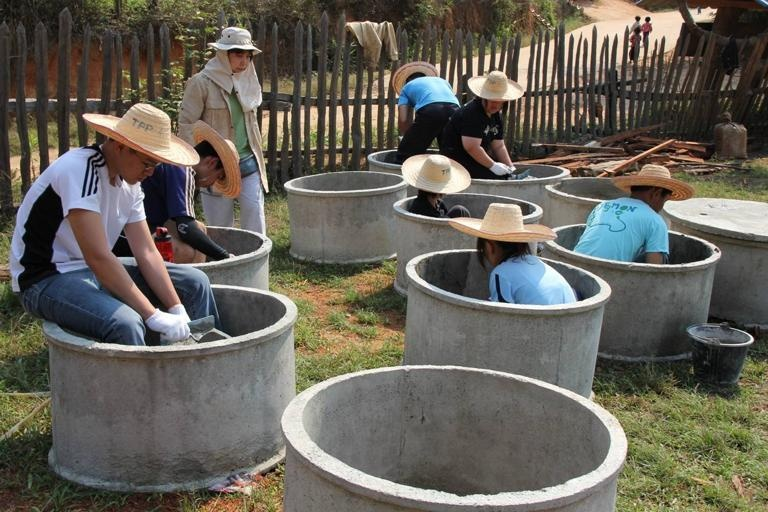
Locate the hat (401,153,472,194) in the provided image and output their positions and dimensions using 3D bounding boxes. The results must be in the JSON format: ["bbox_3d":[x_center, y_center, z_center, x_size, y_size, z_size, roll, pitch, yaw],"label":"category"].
[{"bbox_3d":[0.529,-0.866,7.973,0.776,0.298,0.954,3,-3,0],"label":"hat"}]

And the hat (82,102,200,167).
[{"bbox_3d":[-1.748,-0.946,5.375,0.929,0.301,0.804,7,15,-47],"label":"hat"}]

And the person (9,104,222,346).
[{"bbox_3d":[-2.069,-0.216,5.263,1.282,1.732,0.832,0,14,-10],"label":"person"}]

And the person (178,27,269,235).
[{"bbox_3d":[-1.700,-1.115,8.210,0.848,2.885,1.029,21,29,38],"label":"person"}]

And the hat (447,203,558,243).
[{"bbox_3d":[1.031,-0.295,5.996,0.837,0.340,1.054,2,-1,17],"label":"hat"}]

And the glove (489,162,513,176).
[{"bbox_3d":[1.474,-1.068,9.073,0.243,0.092,0.188,3,19,-23],"label":"glove"}]

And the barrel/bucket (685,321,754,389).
[{"bbox_3d":[3.064,0.898,6.598,0.509,0.519,0.539,-5,15,1],"label":"barrel/bucket"}]

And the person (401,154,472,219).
[{"bbox_3d":[0.627,-0.874,7.974,0.798,0.407,0.992,0,1,15],"label":"person"}]
